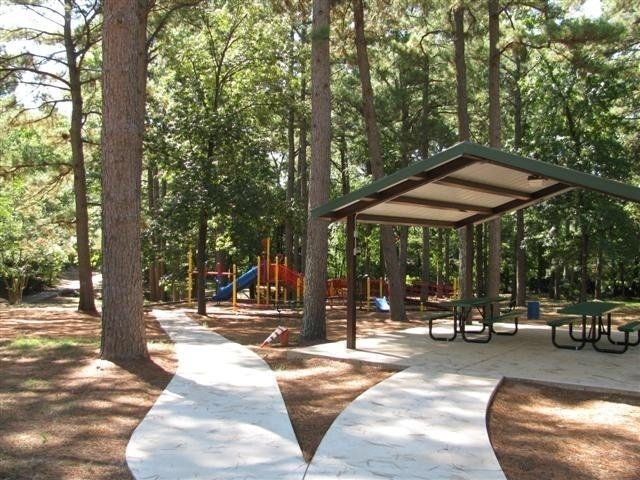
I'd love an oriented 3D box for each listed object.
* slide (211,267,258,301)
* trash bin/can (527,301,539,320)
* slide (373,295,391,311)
[{"bbox_3d":[-4.082,2.112,31.053,2.164,0.723,0.503,-39,22,-6],"label":"slide"},{"bbox_3d":[7.226,2.386,21.963,0.340,0.530,0.360,1,10,7],"label":"trash bin/can"},{"bbox_3d":[2.429,2.506,25.571,0.543,0.306,0.888,-1,15,2],"label":"slide"}]
